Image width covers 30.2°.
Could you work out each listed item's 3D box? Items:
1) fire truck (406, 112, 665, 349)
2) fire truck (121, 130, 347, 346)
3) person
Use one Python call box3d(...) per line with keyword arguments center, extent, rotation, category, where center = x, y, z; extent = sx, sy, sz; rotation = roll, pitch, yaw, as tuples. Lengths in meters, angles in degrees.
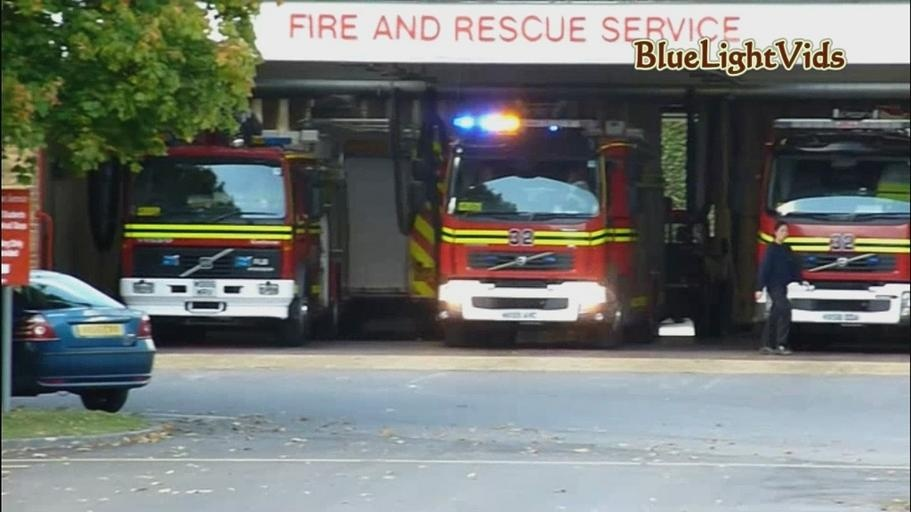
box3d(center=(2.284, -0.457, 36.965), extent=(3.498, 3.166, 6.336), rotation=(-1, -5, 10), category="fire truck")
box3d(center=(-4.761, -0.306, 37.297), extent=(3.498, 2.631, 5.483), rotation=(0, -3, 3), category="fire truck")
box3d(center=(6.486, 0.697, 33.811), extent=(0.815, 2.680, 0.716), rotation=(-3, 7, 7), category="person")
